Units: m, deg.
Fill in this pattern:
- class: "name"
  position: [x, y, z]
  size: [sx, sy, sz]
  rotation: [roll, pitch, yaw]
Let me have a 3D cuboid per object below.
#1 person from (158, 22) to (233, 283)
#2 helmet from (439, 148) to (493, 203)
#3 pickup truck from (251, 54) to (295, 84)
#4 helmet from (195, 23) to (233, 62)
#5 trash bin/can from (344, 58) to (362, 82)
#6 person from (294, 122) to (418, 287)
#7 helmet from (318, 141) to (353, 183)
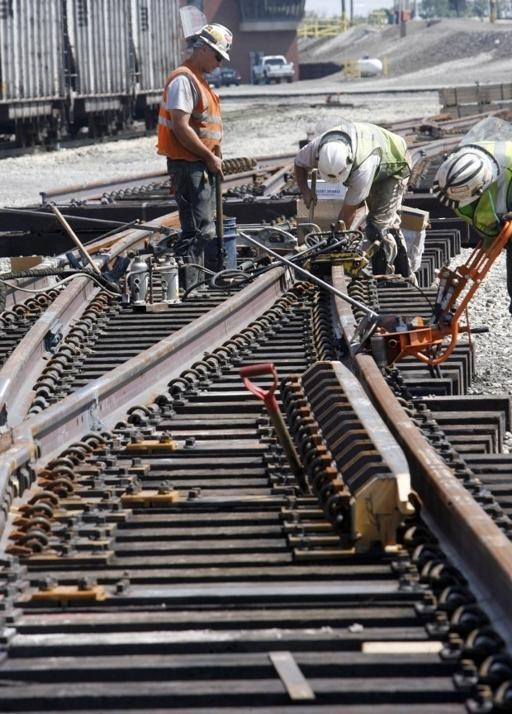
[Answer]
- class: "person"
  position: [-0.391, -1.263, 7.416]
  size: [0.449, 1.471, 0.591]
  rotation: [2, 15, 14]
- class: "helmet"
  position: [0.986, -0.838, 5.719]
  size: [0.265, 0.292, 0.229]
  rotation: [-13, 18, -39]
- class: "pickup truck"
  position: [0.716, -14.457, 61.038]
  size: [1.545, 1.106, 2.563]
  rotation: [-2, 14, -5]
- class: "helmet"
  position: [-0.271, -1.886, 7.273]
  size: [0.193, 0.139, 0.245]
  rotation: [32, -1, -29]
- class: "trash bin/can"
  position: [5.313, -15.597, 66.130]
  size: [0.849, 0.935, 2.450]
  rotation: [0, 13, 5]
- class: "person"
  position: [0.730, -0.973, 7.972]
  size: [0.516, 1.129, 1.647]
  rotation: [1, 14, 11]
- class: "helmet"
  position: [0.473, -1.161, 7.256]
  size: [0.207, 0.250, 0.306]
  rotation: [0, 14, 9]
